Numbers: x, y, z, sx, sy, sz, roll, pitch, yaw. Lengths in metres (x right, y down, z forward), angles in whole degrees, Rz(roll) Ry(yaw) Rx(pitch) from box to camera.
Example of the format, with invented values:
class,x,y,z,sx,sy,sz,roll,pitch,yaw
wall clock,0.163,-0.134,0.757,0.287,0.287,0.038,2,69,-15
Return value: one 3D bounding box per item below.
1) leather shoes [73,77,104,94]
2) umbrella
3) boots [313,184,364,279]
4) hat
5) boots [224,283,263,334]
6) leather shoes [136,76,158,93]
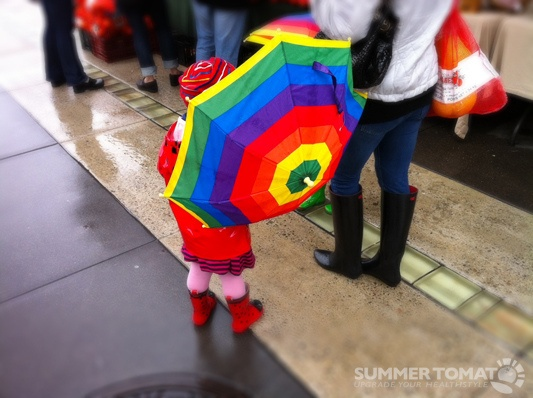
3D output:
class,x,y,z,sx,sy,sz,roll,pitch,yaw
leather shoes,-2.410,-1.538,5.746,0.399,0.177,0.174,-27,57,-30
umbrella,-0.017,-0.267,1.866,0.798,0.808,0.339,-40,66,-18
boots,0.484,0.208,2.995,0.201,0.638,0.417,-25,30,-37
hat,-0.277,-0.591,2.071,0.305,0.172,0.216,-28,24,-27
boots,-0.131,0.668,2.678,0.128,0.265,0.283,6,23,28
leather shoes,-1.624,-1.557,5.744,0.335,0.149,0.148,29,48,29
